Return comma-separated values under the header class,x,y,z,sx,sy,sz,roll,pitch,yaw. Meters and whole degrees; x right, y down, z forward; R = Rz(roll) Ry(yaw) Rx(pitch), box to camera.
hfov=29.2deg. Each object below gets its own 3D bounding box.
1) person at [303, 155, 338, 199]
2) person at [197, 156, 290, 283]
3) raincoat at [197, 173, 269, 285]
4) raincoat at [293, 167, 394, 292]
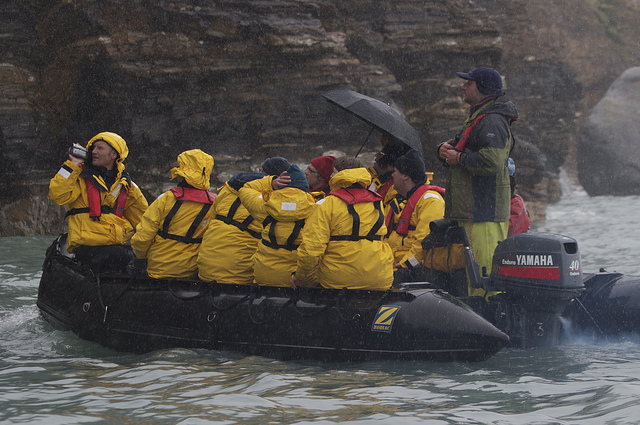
class,x,y,z,sx,sy,sz,roll,pitch,yaw
person,0.072,-0.915,27.481,0.895,0.716,0.625,9,8,-22
person,-1.656,0.350,27.441,1.683,2.936,1.149,13,-6,13
raincoat,-1.899,0.392,27.361,1.585,2.319,1.020,7,-5,2
raincoat,0.542,0.355,26.332,2.056,2.630,0.356,2,2,-5
